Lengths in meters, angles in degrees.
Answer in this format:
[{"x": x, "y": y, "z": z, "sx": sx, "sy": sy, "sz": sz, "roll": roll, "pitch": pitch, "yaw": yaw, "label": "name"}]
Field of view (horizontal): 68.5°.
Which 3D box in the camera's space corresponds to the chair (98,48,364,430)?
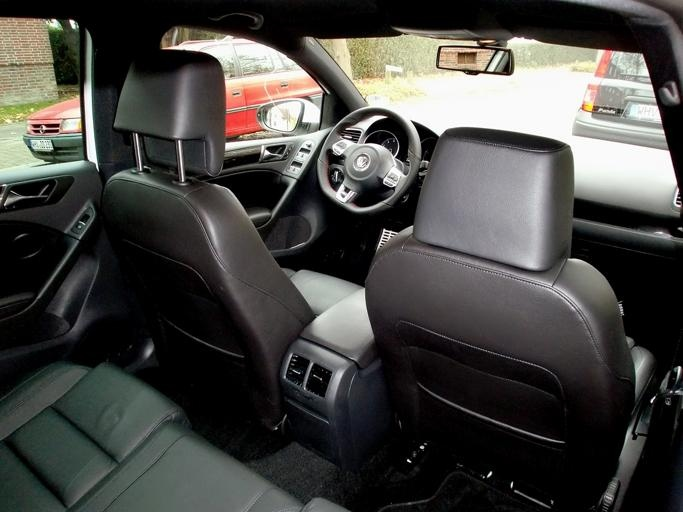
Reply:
[{"x": -0.455, "y": -0.090, "z": 2.012, "sx": 0.820, "sy": 1.317, "sz": 0.789, "roll": 20, "pitch": 25, "yaw": 40, "label": "chair"}]
